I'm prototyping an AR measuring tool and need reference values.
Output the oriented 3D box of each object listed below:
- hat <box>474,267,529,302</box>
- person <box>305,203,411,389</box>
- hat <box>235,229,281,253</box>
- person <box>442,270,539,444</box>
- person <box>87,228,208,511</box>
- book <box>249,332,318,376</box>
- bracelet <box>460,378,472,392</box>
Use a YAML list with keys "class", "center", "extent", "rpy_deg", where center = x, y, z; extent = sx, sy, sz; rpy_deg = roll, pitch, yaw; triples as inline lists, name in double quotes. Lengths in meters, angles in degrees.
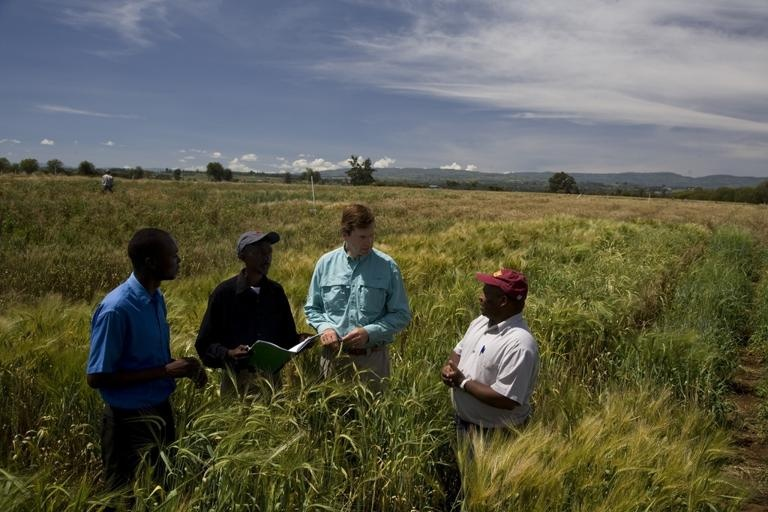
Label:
- class: "hat"
  center: [1.264, 0.270, 5.181]
  extent: [0.492, 0.231, 0.320]
  rpy_deg: [17, 11, 15]
- class: "person"
  center: [-0.325, 0.679, 5.668]
  extent: [1.239, 1.707, 0.800]
  rpy_deg: [1, 10, 8]
- class: "hat"
  center: [-1.392, -0.195, 5.317]
  extent: [0.367, 0.138, 0.261]
  rpy_deg: [-19, -7, 21]
- class: "person"
  center: [1.129, 1.029, 5.146]
  extent: [0.958, 1.762, 0.622]
  rpy_deg: [2, 10, 18]
- class: "person"
  center: [-2.365, 1.082, 4.707]
  extent: [0.910, 2.679, 0.544]
  rpy_deg: [-7, 12, -33]
- class: "book"
  center: [-1.097, 0.993, 5.109]
  extent: [0.561, 0.200, 0.429]
  rpy_deg: [1, -27, 13]
- class: "bracelet"
  center: [0.851, 1.345, 5.051]
  extent: [0.110, 0.113, 0.115]
  rpy_deg: [8, -11, -28]
